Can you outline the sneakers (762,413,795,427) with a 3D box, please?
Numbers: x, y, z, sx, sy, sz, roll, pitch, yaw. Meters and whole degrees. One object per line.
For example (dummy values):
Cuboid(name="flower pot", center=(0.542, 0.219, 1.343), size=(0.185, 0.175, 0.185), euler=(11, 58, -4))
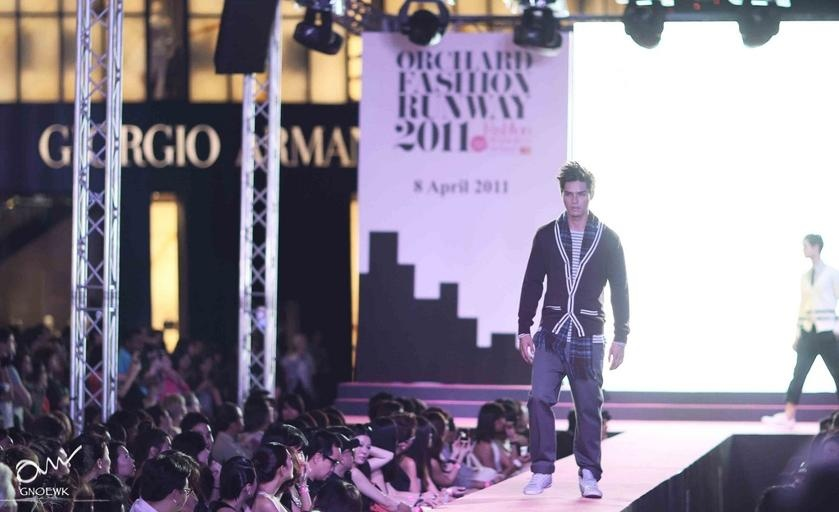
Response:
Cuboid(name="sneakers", center=(5.426, 2.446, 24.398), size=(0.508, 0.201, 0.195), euler=(1, 0, 26))
